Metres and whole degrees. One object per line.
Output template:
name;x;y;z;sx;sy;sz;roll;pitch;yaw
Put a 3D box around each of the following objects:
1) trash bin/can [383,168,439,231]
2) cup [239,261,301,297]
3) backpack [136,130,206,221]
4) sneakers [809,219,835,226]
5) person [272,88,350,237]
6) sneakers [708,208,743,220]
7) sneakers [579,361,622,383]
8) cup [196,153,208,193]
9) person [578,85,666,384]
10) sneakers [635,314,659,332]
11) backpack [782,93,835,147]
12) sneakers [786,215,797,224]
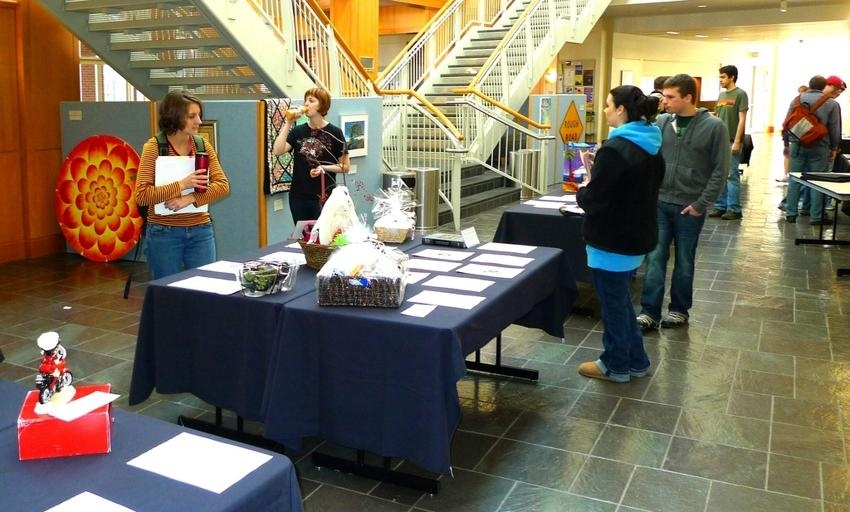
trash bin/can;-0.360;-0.910;9.414;1.052;1.019;0.996;-2;10;-5
cup;-0.966;0.144;3.604;0.224;0.113;0.268;1;4;11
backpack;-1.887;-0.562;4.317;0.533;0.694;0.416;-8;15;-22
sneakers;6.138;-0.490;8.933;0.328;0.125;0.105;-4;18;-12
person;-1.040;-0.893;5.359;0.675;1.264;1.712;-6;14;-13
sneakers;4.993;-0.699;9.678;0.213;0.244;0.611;-14;10;-26
sneakers;1.425;0.956;4.675;0.286;0.105;0.149;13;17;35
cup;-1.665;-0.615;4.303;0.116;0.279;0.256;-7;15;-20
person;1.463;-0.091;4.363;0.655;2.277;0.336;-2;14;2
sneakers;2.103;0.649;5.529;0.145;0.143;0.364;5;-7;45
backpack;5.879;-2.041;8.896;0.595;0.749;0.381;7;16;32
sneakers;5.917;-0.563;9.328;0.111;0.126;0.321;2;8;31
